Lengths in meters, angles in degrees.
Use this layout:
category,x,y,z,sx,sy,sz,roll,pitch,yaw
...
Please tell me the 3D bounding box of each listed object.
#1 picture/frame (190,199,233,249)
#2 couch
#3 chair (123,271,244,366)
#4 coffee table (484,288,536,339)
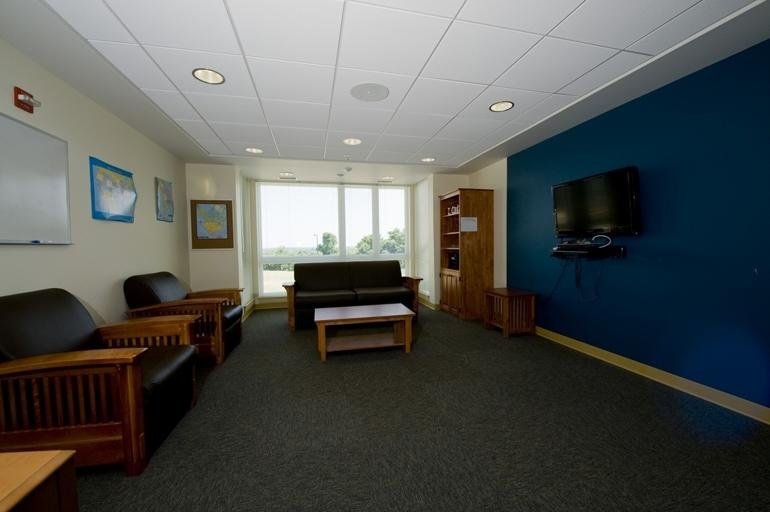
category,x,y,z,sx,sy,sz,roll,pitch,yaw
picture/frame,-2.627,-0.471,7.395,0.766,0.988,0.077,0,4,-15
couch,-0.528,0.551,7.896,2.057,0.875,0.796,-2,5,-13
chair,-2.476,0.722,6.243,1.153,0.938,0.997,-1,5,2
coffee table,1.783,0.824,7.067,0.522,0.567,0.706,0,2,-7
